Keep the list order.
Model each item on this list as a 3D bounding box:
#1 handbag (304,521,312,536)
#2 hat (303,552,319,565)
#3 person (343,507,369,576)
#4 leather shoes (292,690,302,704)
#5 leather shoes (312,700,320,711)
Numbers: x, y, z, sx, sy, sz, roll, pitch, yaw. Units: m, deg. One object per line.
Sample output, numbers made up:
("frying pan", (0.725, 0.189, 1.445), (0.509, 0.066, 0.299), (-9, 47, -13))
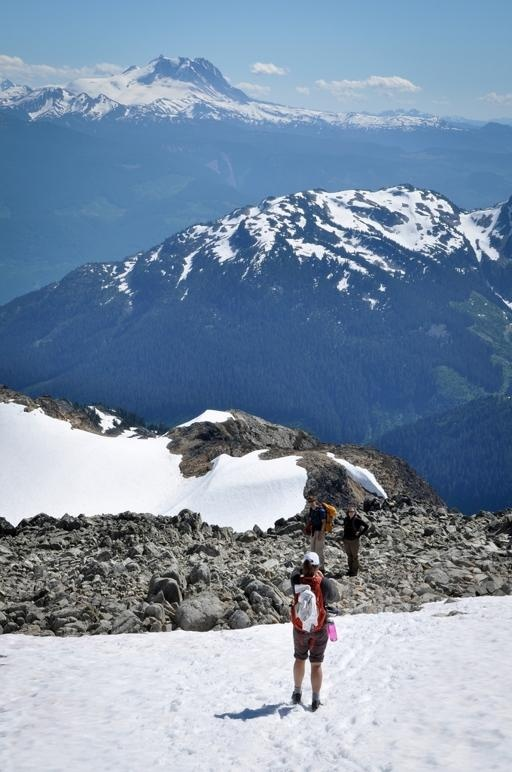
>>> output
("handbag", (1.518, 4.149, 23.870), (0.269, 0.370, 0.117), (9, -9, -18))
("hat", (1.089, 3.405, 16.003), (0.282, 0.235, 0.258), (0, -2, -6))
("person", (3.076, 4.837, 25.469), (0.726, 2.099, 1.107), (0, -2, 7))
("leather shoes", (0.798, 6.240, 16.364), (0.135, 0.293, 0.168), (14, -8, -20))
("leather shoes", (1.174, 6.295, 16.092), (0.087, 0.261, 0.185), (-5, 35, 0))
